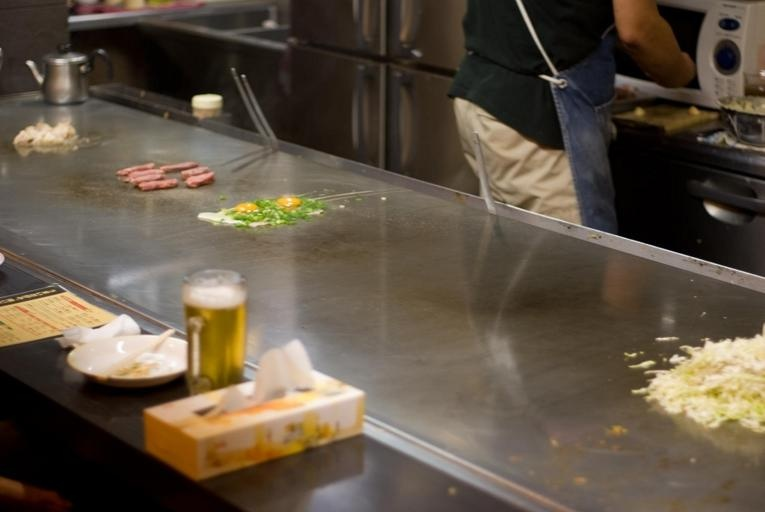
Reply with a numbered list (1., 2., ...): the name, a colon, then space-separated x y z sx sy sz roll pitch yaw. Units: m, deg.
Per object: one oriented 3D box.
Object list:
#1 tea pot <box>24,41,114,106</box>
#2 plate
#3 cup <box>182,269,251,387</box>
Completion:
1. tea pot: -1.311 -0.759 2.718 0.287 0.211 0.268 1 25 0
2. plate: -0.412 0.172 1.082 0.121 0.023 0.120 16 25 33
3. cup: -0.255 0.111 1.023 0.085 0.193 0.089 6 21 -2
